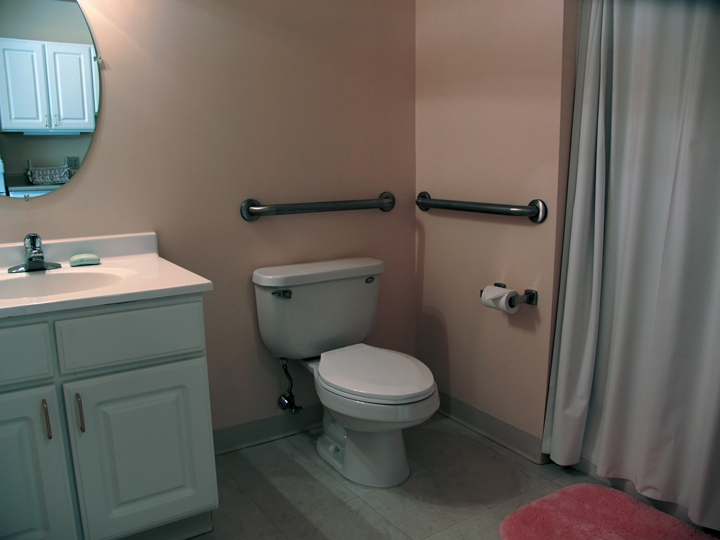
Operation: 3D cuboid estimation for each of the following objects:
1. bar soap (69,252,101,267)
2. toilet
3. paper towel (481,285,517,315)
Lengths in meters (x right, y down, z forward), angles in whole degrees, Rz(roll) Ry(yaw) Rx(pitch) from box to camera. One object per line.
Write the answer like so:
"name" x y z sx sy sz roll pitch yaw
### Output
"bar soap" -1.065 -0.036 2.098 0.077 0.037 0.060 -6 7 -25
"toilet" -0.009 0.454 2.468 0.630 0.911 0.896 -10 15 -37
"paper towel" 0.630 0.130 2.435 0.166 0.115 0.136 10 17 39
